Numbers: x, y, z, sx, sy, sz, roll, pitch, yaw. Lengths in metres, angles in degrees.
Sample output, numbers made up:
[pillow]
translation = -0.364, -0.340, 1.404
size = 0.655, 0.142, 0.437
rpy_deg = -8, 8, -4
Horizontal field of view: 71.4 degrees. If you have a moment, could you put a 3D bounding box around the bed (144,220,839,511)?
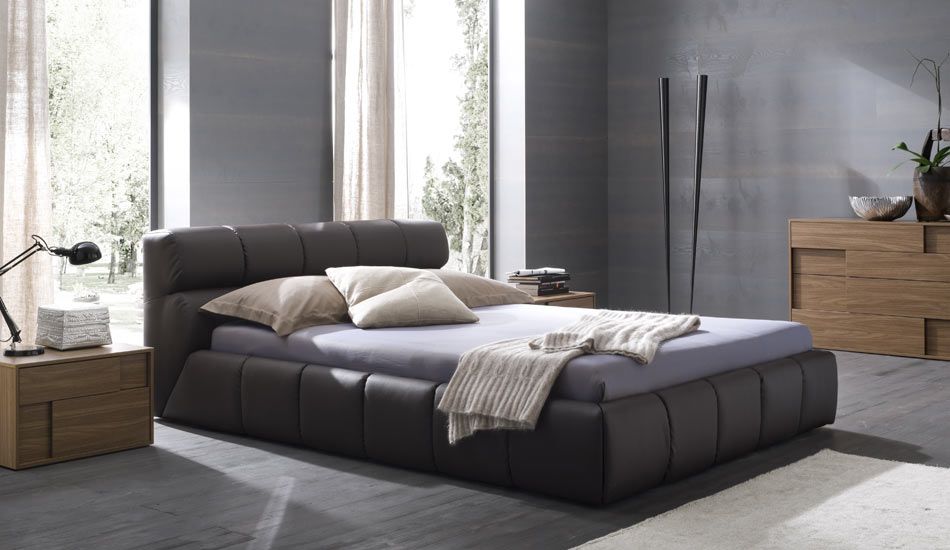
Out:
[bed]
translation = -0.278, 0.604, 4.022
size = 3.074, 0.915, 2.191
rpy_deg = 2, 3, 37
